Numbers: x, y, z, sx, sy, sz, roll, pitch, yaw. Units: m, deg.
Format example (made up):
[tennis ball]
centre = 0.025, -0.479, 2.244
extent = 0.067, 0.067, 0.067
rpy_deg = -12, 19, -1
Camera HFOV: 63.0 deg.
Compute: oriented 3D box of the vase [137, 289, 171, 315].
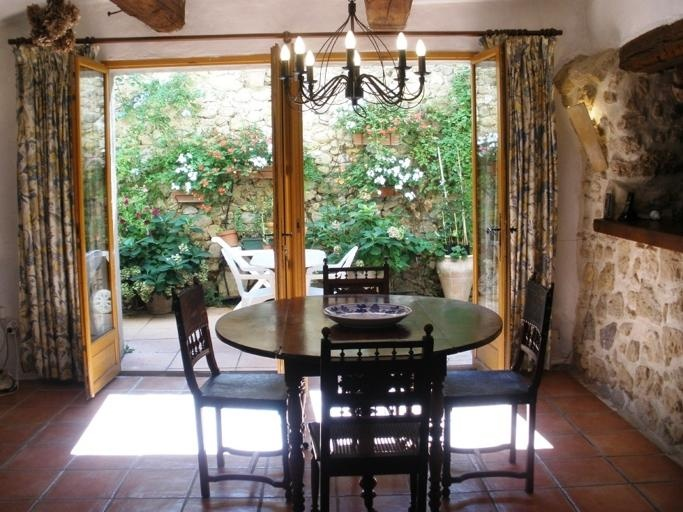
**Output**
[vase]
centre = -2.239, 0.542, 6.678
extent = 0.313, 0.212, 0.288
rpy_deg = 1, 4, 8
